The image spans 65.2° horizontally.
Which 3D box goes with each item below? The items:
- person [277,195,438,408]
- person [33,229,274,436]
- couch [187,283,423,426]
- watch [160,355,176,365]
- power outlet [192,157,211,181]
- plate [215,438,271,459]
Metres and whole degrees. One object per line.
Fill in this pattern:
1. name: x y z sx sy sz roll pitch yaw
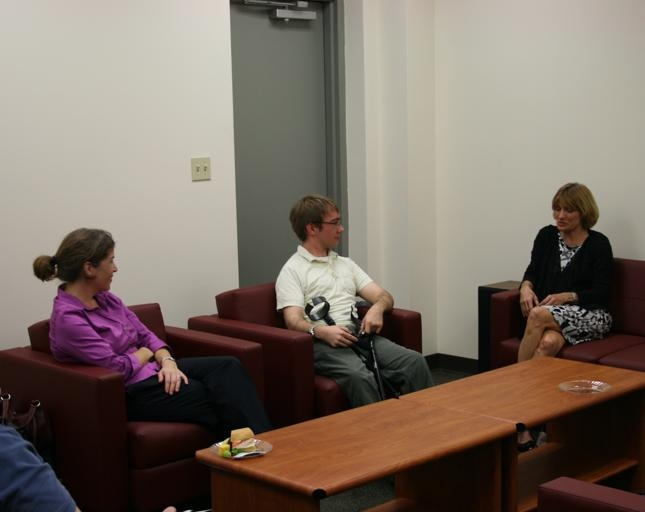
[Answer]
1. person: 0.193 0.369 3.010 0.688 1.503 0.980 -6 4 -34
2. person: -0.736 0.512 2.413 1.096 1.206 0.492 0 5 -7
3. couch: -0.159 0.512 3.067 0.876 0.818 0.958 4 7 44
4. watch: -0.755 0.502 2.433 0.049 0.028 0.069 5 4 6
5. power outlet: -0.837 -0.595 3.446 0.154 0.180 0.023 -5 6 -43
6. plate: -0.225 0.566 1.480 0.153 0.032 0.087 1 5 -19
